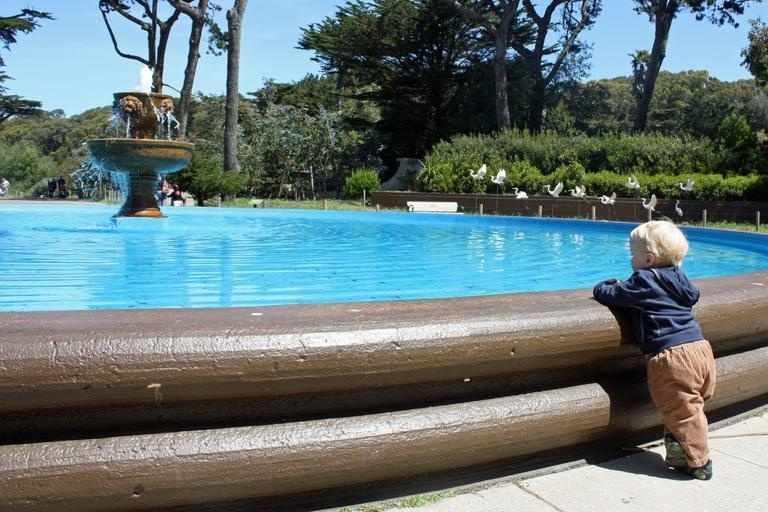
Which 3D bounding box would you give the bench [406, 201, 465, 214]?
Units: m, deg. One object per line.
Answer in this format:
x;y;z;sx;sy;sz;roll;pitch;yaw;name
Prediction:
2.153;-2.117;23.291;1.297;0.418;2.609;9;12;42;bench

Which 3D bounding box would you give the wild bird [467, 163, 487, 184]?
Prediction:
4.274;-3.773;24.825;1.228;0.782;0.957;-7;13;-1;wild bird

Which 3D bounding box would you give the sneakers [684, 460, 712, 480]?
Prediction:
1.641;1.127;2.846;0.072;0.085;0.130;-1;6;-15;sneakers

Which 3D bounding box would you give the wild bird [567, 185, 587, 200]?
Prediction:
7.601;-2.505;21.180;0.779;0.560;0.956;-3;9;31;wild bird

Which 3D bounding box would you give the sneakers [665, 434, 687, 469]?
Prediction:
1.535;1.049;2.875;0.047;0.175;0.130;-5;11;-30;sneakers

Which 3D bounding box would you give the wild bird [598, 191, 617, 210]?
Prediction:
7.970;-2.015;19.239;0.522;0.479;1.245;5;10;21;wild bird

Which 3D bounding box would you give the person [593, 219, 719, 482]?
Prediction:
1.503;0.470;2.958;0.639;1.299;0.382;7;11;30;person
